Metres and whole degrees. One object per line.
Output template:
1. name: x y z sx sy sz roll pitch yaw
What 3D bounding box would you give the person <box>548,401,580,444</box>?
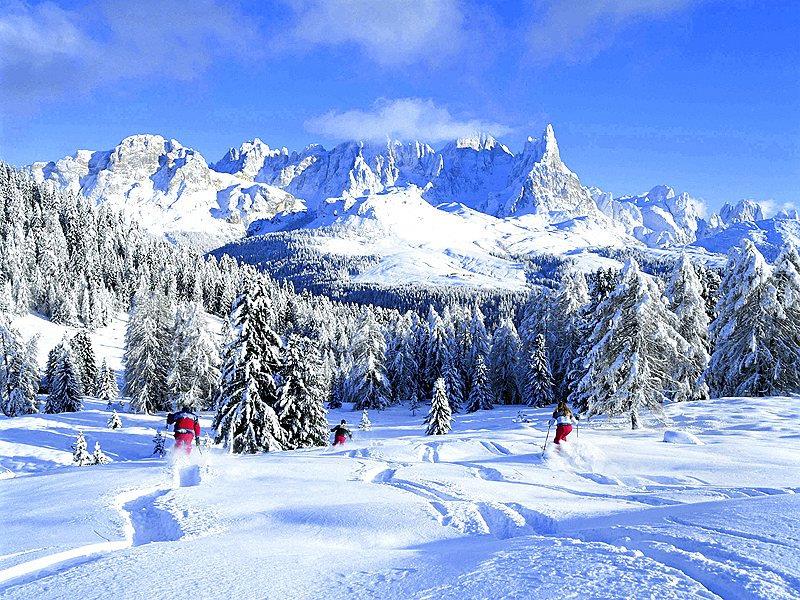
1. person: 8.158 6.315 37.584 1.229 2.631 1.126 3 -2 2

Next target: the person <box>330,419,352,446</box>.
1. person: -3.434 7.511 42.791 0.732 1.667 1.972 0 6 0
